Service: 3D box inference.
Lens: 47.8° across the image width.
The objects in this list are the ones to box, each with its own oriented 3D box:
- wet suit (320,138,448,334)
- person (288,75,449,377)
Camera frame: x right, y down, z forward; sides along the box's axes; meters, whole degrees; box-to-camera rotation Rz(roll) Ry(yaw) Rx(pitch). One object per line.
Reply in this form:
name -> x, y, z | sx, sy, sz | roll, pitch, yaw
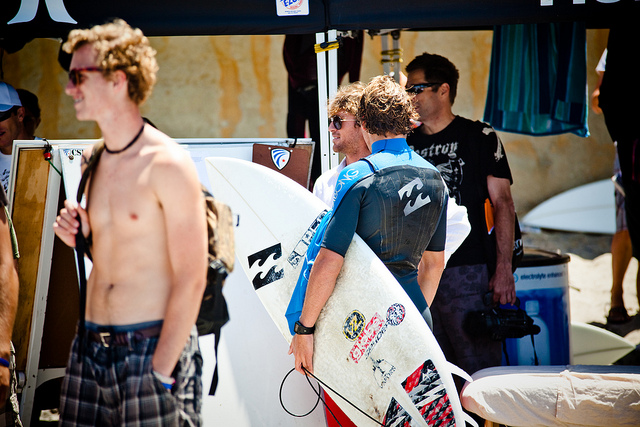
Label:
wet suit -> 0.400, -0.001, 4.515 | 0.760, 0.937, 0.289 | 1, 4, 6
person -> 0.323, 0.075, 4.548 | 0.943, 1.888, 0.327 | 1, 4, 6
